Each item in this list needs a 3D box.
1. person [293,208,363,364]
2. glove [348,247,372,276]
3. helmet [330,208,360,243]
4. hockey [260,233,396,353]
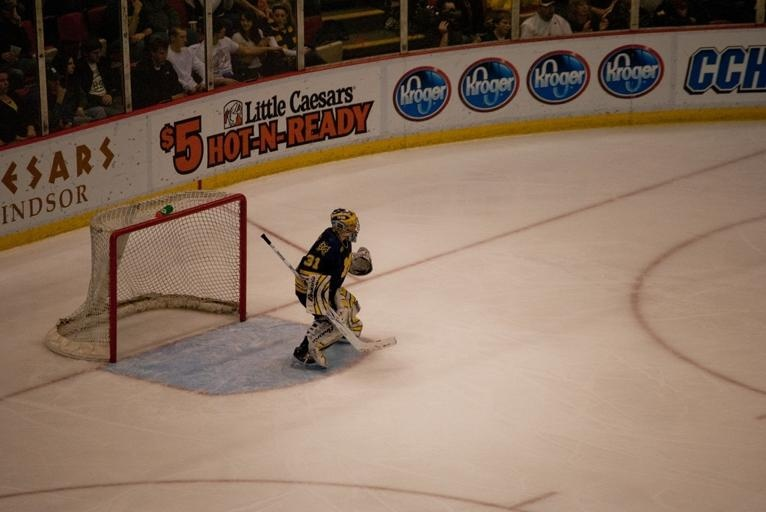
[{"bbox_3d":[-0.569,0.333,8.243,0.765,1.551,0.503,-6,18,-14],"label":"person"},{"bbox_3d":[-0.228,0.074,8.625,0.222,0.292,0.140,40,9,-7],"label":"glove"},{"bbox_3d":[-0.366,-0.299,8.294,0.224,0.366,0.313,4,17,18],"label":"helmet"},{"bbox_3d":[-0.600,0.459,8.872,1.655,0.239,0.269,45,26,16],"label":"hockey"}]
